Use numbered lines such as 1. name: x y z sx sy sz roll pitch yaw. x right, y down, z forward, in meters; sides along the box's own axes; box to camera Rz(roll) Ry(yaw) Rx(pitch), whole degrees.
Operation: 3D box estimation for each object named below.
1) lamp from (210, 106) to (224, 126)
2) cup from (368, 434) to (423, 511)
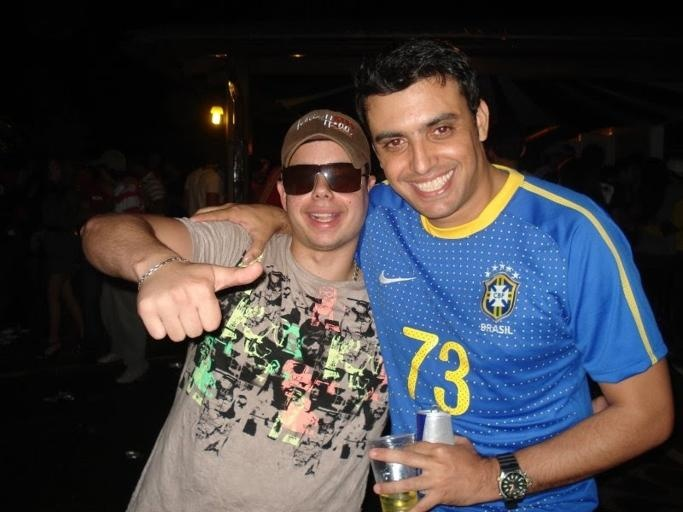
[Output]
1. lamp: -1.978 -2.279 8.624 0.273 0.273 0.334 2 43 -5
2. cup: 0.301 1.180 2.864 0.289 0.457 0.213 -1 13 -7
